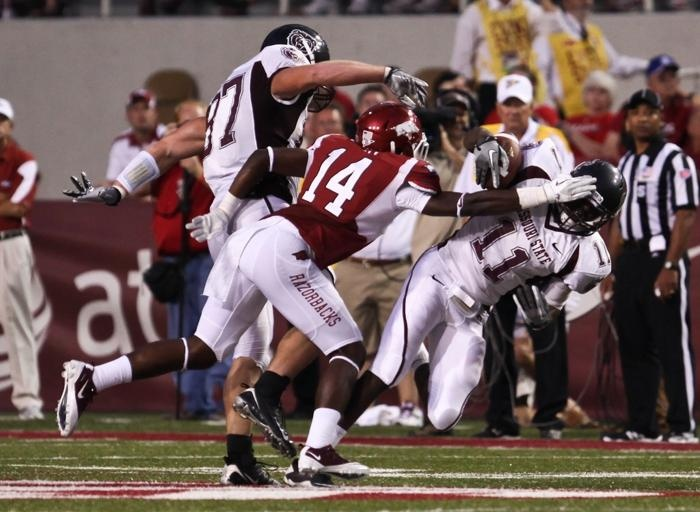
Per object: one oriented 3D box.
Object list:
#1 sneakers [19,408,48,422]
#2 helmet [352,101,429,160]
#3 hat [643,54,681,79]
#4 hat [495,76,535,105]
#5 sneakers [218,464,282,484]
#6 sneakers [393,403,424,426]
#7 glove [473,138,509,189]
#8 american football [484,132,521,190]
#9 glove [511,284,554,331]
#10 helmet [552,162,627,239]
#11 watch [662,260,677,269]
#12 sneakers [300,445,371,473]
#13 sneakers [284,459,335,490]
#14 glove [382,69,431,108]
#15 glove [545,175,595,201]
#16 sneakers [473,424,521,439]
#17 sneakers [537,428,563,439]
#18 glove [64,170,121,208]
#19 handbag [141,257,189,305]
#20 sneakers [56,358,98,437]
[{"bbox_3d":[-2.506,1.260,9.506,0.144,0.060,0.114,-3,-6,40],"label":"sneakers"},{"bbox_3d":[0.244,-0.720,6.826,0.349,0.328,0.268,-3,12,-33],"label":"helmet"},{"bbox_3d":[2.082,-1.277,7.982,0.155,0.118,0.228,-3,4,1],"label":"hat"},{"bbox_3d":[1.176,-1.188,8.506,0.251,0.209,0.184,0,1,4],"label":"hat"},{"bbox_3d":[-0.551,1.208,6.610,0.342,0.156,0.126,4,-3,-19],"label":"sneakers"},{"bbox_3d":[0.462,1.243,9.334,0.182,0.147,0.147,1,-5,-24],"label":"sneakers"},{"bbox_3d":[0.784,-0.513,6.682,0.105,0.212,0.275,1,-41,-34],"label":"glove"},{"bbox_3d":[0.887,-0.542,6.764,0.194,0.281,0.203,6,1,22],"label":"american football"},{"bbox_3d":[1.079,0.280,6.992,0.196,0.274,0.140,-28,-5,28],"label":"glove"},{"bbox_3d":[1.331,-0.287,6.690,0.365,0.329,0.430,-24,9,36],"label":"helmet"},{"bbox_3d":[2.245,0.058,8.412,0.057,0.063,0.014,1,9,17],"label":"watch"},{"bbox_3d":[-0.100,1.104,6.472,0.413,0.187,0.146,6,-10,-7],"label":"sneakers"},{"bbox_3d":[-0.223,1.177,6.411,0.235,0.116,0.125,1,-3,5],"label":"sneakers"},{"bbox_3d":[0.312,-0.941,6.703,0.162,0.261,0.102,-47,2,-22],"label":"glove"},{"bbox_3d":[1.201,-0.371,6.554,0.198,0.128,0.154,-1,-6,-13],"label":"glove"},{"bbox_3d":[1.051,1.267,8.546,0.315,0.146,0.113,3,-4,-2],"label":"sneakers"},{"bbox_3d":[1.435,1.272,8.599,0.171,0.087,0.064,-2,-2,8],"label":"sneakers"},{"bbox_3d":[-1.501,-0.382,7.110,0.247,0.124,0.245,8,10,1],"label":"glove"},{"bbox_3d":[-1.455,0.190,9.388,0.331,0.386,0.293,-5,-1,-23],"label":"handbag"},{"bbox_3d":[-1.491,0.756,6.597,0.234,0.477,0.160,10,0,-39],"label":"sneakers"}]
